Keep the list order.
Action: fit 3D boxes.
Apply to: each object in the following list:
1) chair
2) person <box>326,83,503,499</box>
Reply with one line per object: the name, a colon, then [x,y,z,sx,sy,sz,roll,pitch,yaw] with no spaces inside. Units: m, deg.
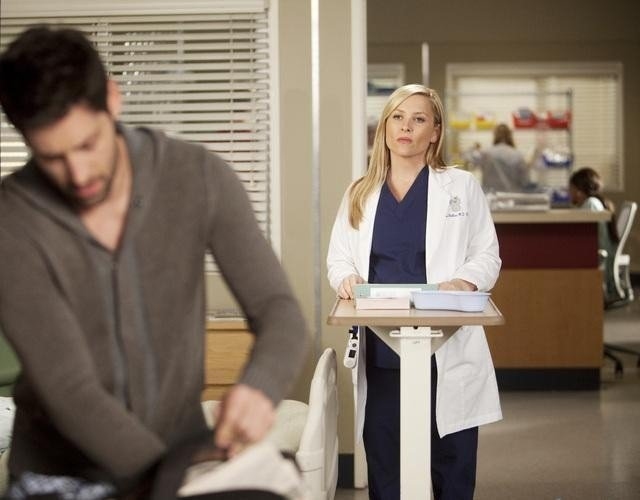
chair: [1.374,0.199,3.139,0.173,0.781,0.183,2,11,24]
person: [0.229,0.174,1.795,0.468,1.182,0.458,0,11,15]
